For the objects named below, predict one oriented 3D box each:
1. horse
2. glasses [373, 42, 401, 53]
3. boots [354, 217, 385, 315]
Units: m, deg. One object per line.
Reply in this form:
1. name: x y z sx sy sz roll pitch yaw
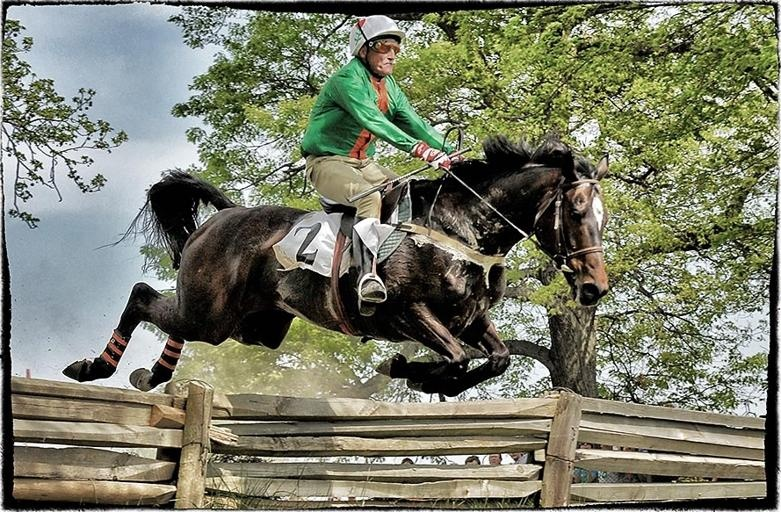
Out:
1. horse: -0.339 0.160 15.537 6.592 3.432 1.536 0 -8 8
2. glasses: -0.059 -2.785 15.038 0.234 0.062 0.221 2 -5 -24
3. boots: -0.255 0.110 14.726 0.456 1.286 0.381 1 -8 -1
